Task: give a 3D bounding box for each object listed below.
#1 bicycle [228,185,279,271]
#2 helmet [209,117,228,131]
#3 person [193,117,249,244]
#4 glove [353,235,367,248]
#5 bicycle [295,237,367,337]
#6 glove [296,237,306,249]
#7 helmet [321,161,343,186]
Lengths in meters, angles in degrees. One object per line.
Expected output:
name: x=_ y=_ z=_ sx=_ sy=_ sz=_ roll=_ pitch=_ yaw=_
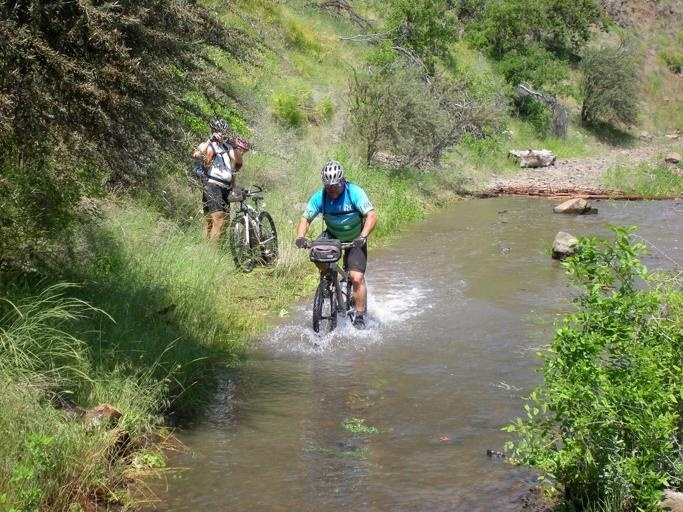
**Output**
bicycle: x=-1.648 y=-0.421 z=13.774 sx=0.730 sy=1.094 sz=1.634 roll=-6 pitch=5 yaw=9
helmet: x=-2.267 y=-2.434 z=13.302 sx=0.214 sy=0.286 sz=0.278 roll=-9 pitch=21 yaw=-32
person: x=-2.220 y=-1.439 z=13.109 sx=0.903 sy=2.037 sz=1.328 roll=-4 pitch=13 yaw=-14
glove: x=0.259 y=-0.206 z=10.364 sx=0.175 sy=0.193 sz=0.205 roll=0 pitch=13 yaw=1
bicycle: x=-0.121 y=0.433 z=10.613 sx=0.909 sy=1.427 sz=0.592 roll=-8 pitch=14 yaw=-29
glove: x=-0.597 y=-0.199 z=10.517 sx=0.131 sy=0.191 sz=0.364 roll=-1 pitch=14 yaw=-3
helmet: x=-0.128 y=-1.180 z=10.362 sx=0.293 sy=0.346 sz=0.279 roll=-1 pitch=13 yaw=-3
